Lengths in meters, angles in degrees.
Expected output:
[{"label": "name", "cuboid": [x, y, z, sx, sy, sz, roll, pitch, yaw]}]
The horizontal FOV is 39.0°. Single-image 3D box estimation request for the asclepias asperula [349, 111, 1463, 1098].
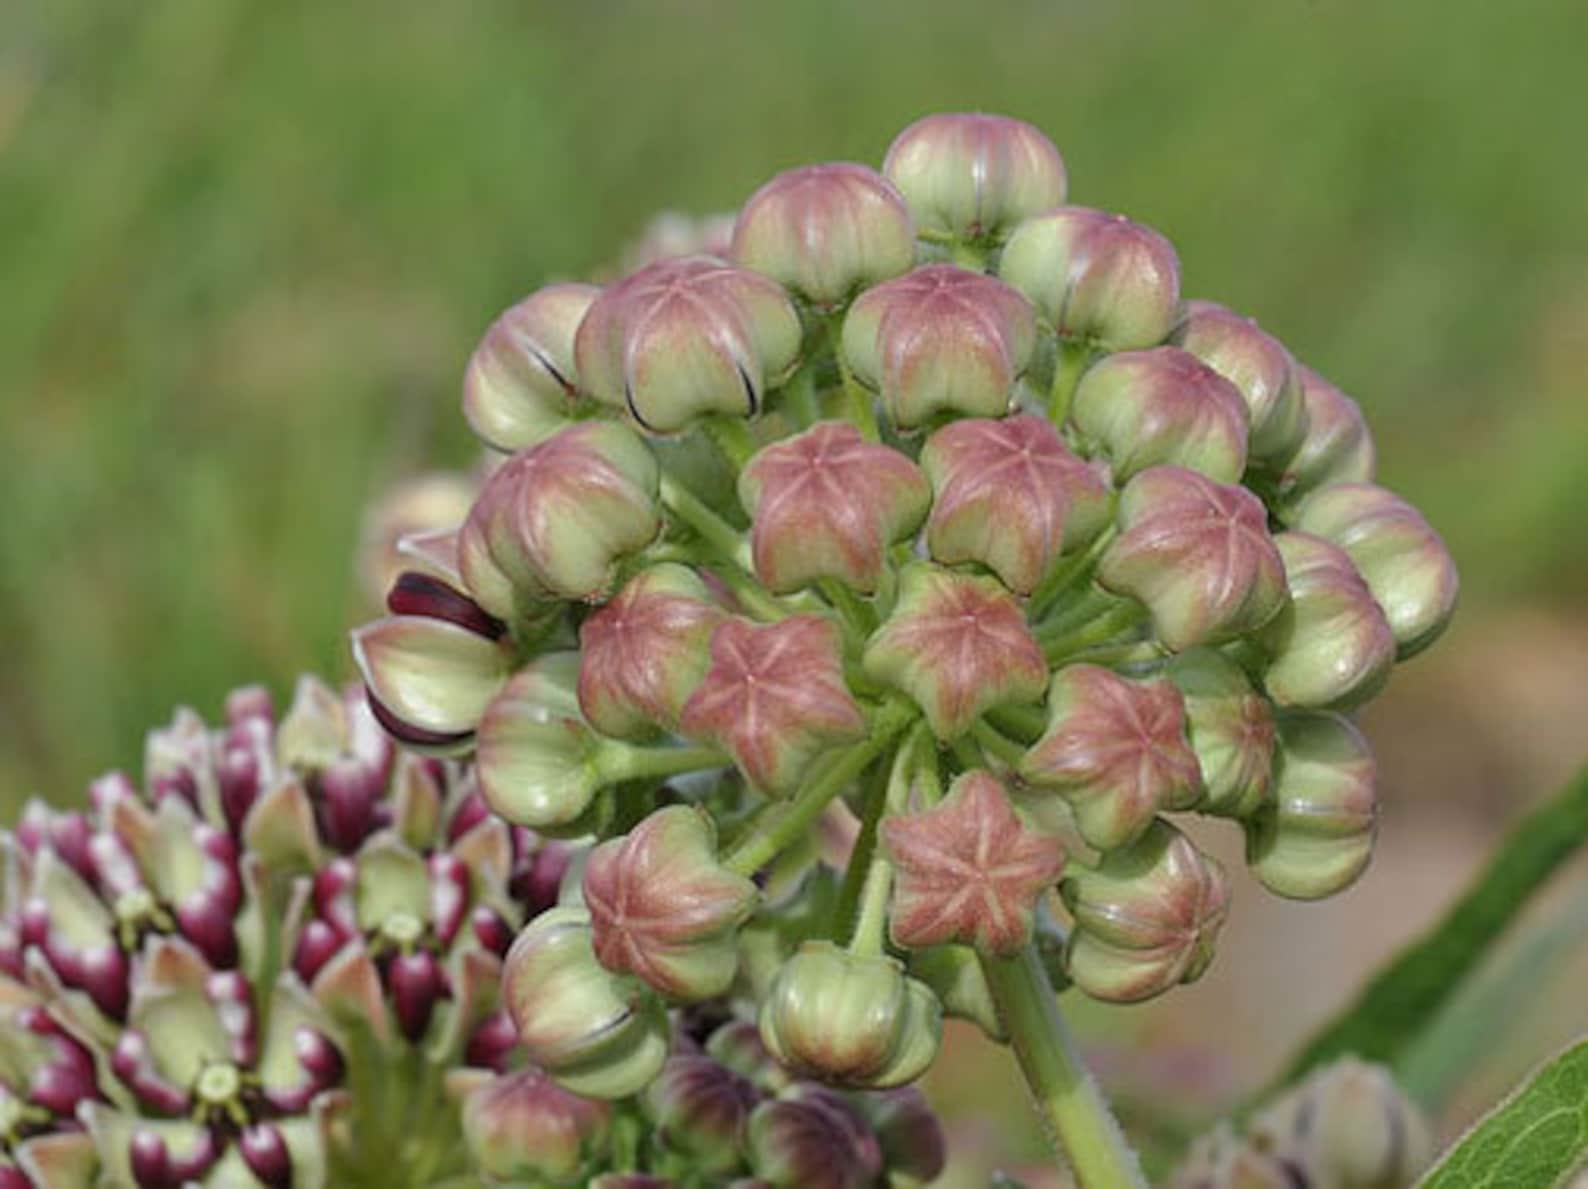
[{"label": "asclepias asperula", "cuboid": [0.199, 0.136, 3.599, 1.601, 1.290, 1.264, -17, 48, -15]}]
